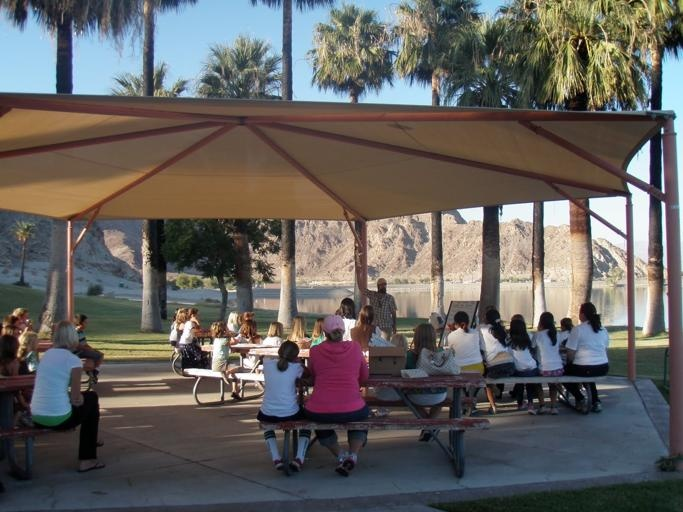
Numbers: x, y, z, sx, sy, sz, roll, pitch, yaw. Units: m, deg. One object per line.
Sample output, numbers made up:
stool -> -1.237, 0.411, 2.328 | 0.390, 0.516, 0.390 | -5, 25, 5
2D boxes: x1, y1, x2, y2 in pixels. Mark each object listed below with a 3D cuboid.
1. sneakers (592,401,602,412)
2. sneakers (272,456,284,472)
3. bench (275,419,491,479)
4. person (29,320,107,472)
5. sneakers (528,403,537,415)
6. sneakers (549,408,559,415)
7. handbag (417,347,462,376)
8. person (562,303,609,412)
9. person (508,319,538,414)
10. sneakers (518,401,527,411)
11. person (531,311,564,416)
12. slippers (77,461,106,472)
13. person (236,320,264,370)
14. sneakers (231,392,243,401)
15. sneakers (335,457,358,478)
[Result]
sneakers -> 4.496, 2.672, 15.501 | 0.088, 0.131, 0.284 | 0, 0, 9
sneakers -> -0.922, 3.103, 13.007 | 0.093, 0.137, 0.296 | 0, -2, -1
bench -> 0.557, 2.840, 14.030 | 3.341, 0.640, 2.821 | -1, -1, 4
person -> -4.044, 2.085, 12.994 | 1.003, 2.259, 0.553 | -1, -1, -22
sneakers -> 3.378, 2.726, 15.611 | 0.199, 0.224, 0.126 | -8, -9, 43
sneakers -> 3.742, 2.738, 15.469 | 0.068, 0.085, 0.187 | -2, -15, 4
handbag -> 1.477, 1.630, 13.390 | 0.574, 0.419, 0.369 | 1, -45, 0
person -> 4.335, 1.819, 15.700 | 0.741, 1.977, 1.083 | 1, -4, -8
person -> 3.243, 1.925, 15.652 | 0.419, 1.618, 0.886 | -7, -11, 7
sneakers -> 3.294, 2.732, 15.961 | 0.107, 0.070, 0.150 | 1, 1, 31
person -> 3.665, 1.890, 15.550 | 0.509, 1.467, 0.777 | -1, -1, 14
slippers -> -3.720, 3.167, 13.119 | 0.344, 0.154, 0.156 | -4, 6, -30
person -> -1.900, 1.877, 17.884 | 0.486, 1.223, 0.482 | 3, 19, -23
sneakers -> -1.998, 2.696, 16.796 | 0.264, 0.111, 0.101 | 3, -3, -5
sneakers -> 0.043, 3.121, 12.898 | 0.164, 0.190, 0.396 | 9, -32, -7
